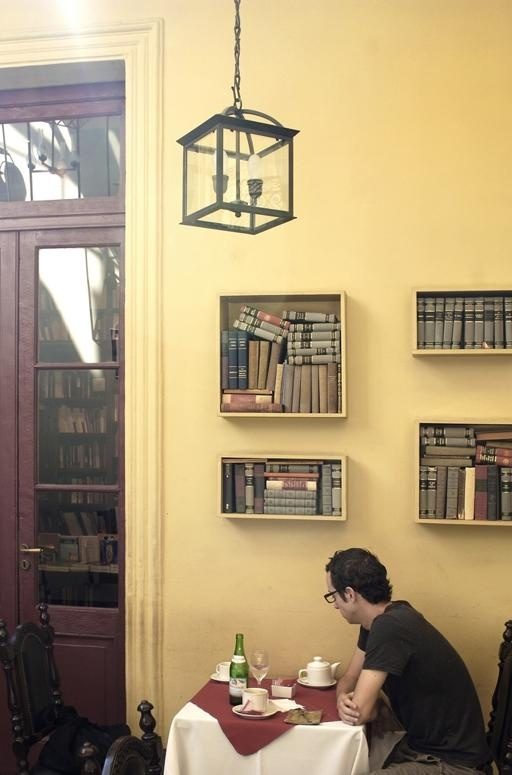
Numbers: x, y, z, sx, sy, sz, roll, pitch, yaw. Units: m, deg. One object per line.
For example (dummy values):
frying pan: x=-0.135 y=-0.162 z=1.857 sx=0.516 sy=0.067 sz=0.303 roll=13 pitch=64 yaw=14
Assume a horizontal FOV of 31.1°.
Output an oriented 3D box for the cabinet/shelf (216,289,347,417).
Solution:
cabinet/shelf: x=0.116 y=-0.130 z=3.958 sx=0.489 sy=0.526 sz=0.166 roll=0 pitch=-2 yaw=12

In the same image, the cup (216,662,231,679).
cup: x=-0.123 y=1.118 z=3.671 sx=0.063 sy=0.052 sz=0.050 roll=1 pitch=-1 yaw=-26

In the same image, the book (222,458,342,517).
book: x=0.110 y=0.422 z=3.940 sx=0.523 sy=0.262 sz=0.172 roll=1 pitch=-3 yaw=-6

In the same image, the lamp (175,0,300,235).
lamp: x=-0.053 y=-0.667 z=2.869 sx=0.342 sy=0.350 sz=0.250 roll=2 pitch=-3 yaw=-16

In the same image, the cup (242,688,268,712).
cup: x=-0.001 y=1.104 z=3.273 sx=0.073 sy=0.060 sz=0.059 roll=-3 pitch=-4 yaw=19
